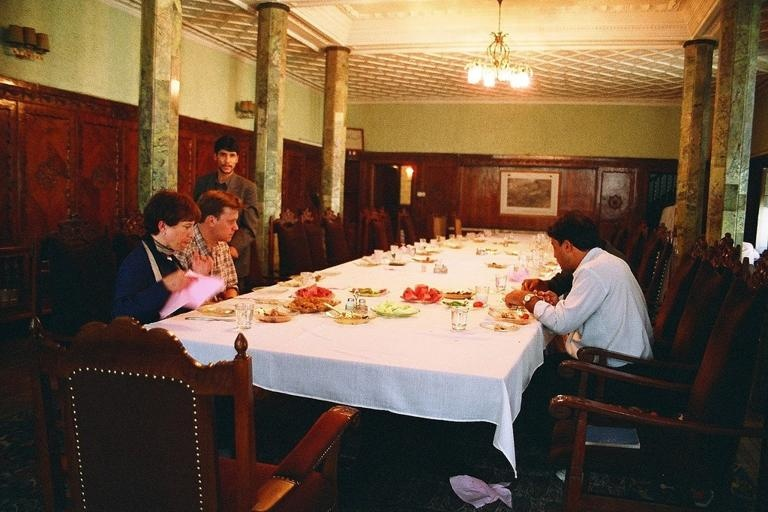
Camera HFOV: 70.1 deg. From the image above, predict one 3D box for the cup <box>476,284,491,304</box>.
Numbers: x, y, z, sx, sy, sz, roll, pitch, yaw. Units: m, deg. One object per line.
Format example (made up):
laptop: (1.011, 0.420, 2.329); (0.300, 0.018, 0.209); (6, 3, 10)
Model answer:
cup: (0.687, 0.268, 3.842); (0.120, 0.144, 0.121); (0, 0, 0)

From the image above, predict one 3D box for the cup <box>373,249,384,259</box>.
cup: (-0.056, -0.012, 5.507); (0.090, 0.069, 0.072); (-1, 1, 22)

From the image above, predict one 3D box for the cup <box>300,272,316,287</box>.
cup: (-0.592, 0.184, 4.284); (0.091, 0.087, 0.112); (-2, -12, -32)

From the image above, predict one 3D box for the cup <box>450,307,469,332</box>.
cup: (0.445, 0.358, 3.195); (0.123, 0.140, 0.121); (1, 10, 0)

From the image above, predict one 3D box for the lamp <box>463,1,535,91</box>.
lamp: (1.682, -2.934, 7.650); (0.732, 1.145, 2.409); (4, 15, 14)

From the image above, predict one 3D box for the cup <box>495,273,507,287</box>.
cup: (0.914, 0.194, 4.273); (0.099, 0.116, 0.106); (1, -3, 0)

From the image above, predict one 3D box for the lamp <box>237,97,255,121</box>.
lamp: (-2.335, -2.496, 9.327); (0.320, 0.302, 0.386); (0, 14, -2)

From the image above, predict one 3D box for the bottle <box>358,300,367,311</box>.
bottle: (-0.127, 0.304, 3.336); (0.053, 0.055, 0.053); (3, 5, 11)

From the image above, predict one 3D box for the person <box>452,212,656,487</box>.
person: (1.367, 0.487, 3.733); (0.890, 1.408, 0.685); (-1, 11, 27)

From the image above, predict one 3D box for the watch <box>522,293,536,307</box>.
watch: (0.933, 0.282, 3.544); (0.058, 0.036, 0.068); (37, -6, 18)

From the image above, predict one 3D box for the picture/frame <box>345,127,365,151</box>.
picture/frame: (-0.638, -2.643, 12.398); (0.411, 0.509, 0.345); (-1, 14, -4)
